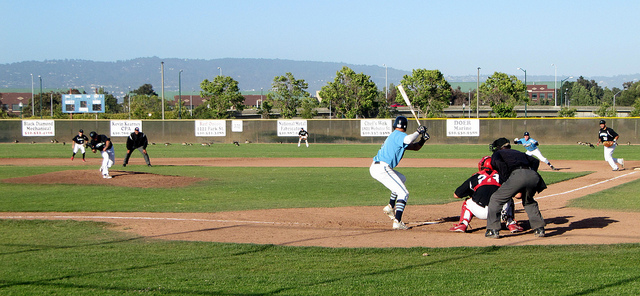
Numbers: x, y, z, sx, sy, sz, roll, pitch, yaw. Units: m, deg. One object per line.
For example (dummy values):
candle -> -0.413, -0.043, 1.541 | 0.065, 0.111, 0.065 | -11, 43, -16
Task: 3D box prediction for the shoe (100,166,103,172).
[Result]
shoe -> -22.800, 2.187, 79.038 | 0.202, 0.478, 0.668 | -2, 2, -21
